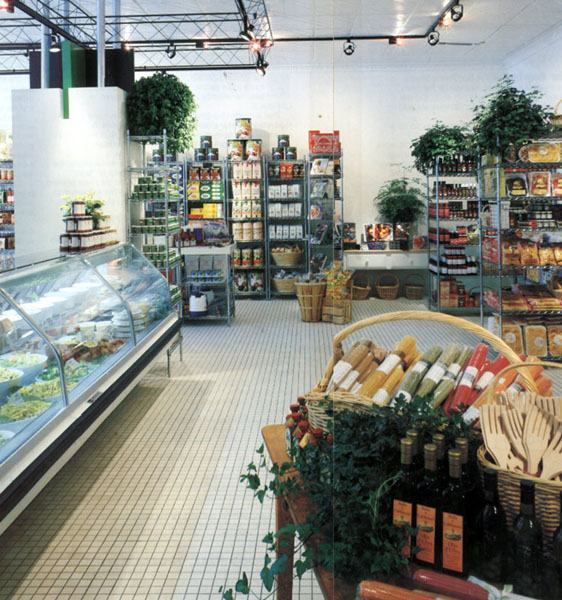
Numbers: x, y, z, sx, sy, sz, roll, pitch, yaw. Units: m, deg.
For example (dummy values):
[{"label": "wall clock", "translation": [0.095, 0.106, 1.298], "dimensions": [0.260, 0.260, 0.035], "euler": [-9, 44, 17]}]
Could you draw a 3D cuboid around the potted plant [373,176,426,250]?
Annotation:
[{"label": "potted plant", "translation": [2.175, -1.625, 9.830], "dimensions": [0.814, 1.297, 0.962], "euler": [4, 10, 30]}]

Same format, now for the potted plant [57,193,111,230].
[{"label": "potted plant", "translation": [-2.050, -0.876, 5.278], "dimensions": [0.513, 0.423, 0.486], "euler": [-1, 10, 1]}]

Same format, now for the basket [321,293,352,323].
[{"label": "basket", "translation": [0.834, 0.109, 7.851], "dimensions": [0.429, 0.368, 0.415], "euler": [1, 8, 13]}]

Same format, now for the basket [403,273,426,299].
[{"label": "basket", "translation": [2.428, -0.270, 9.715], "dimensions": [0.399, 0.458, 0.529], "euler": [0, 9, 12]}]

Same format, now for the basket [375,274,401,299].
[{"label": "basket", "translation": [1.972, -0.265, 9.778], "dimensions": [0.428, 0.442, 0.473], "euler": [2, 11, 15]}]

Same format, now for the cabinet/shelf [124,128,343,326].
[{"label": "cabinet/shelf", "translation": [-0.697, -1.079, 8.015], "dimensions": [3.797, 3.361, 1.931], "euler": [-1, 5, -4]}]

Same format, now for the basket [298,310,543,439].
[{"label": "basket", "translation": [0.302, 0.165, 1.211], "dimensions": [0.386, 0.225, 0.357], "euler": [4, 10, 27]}]
